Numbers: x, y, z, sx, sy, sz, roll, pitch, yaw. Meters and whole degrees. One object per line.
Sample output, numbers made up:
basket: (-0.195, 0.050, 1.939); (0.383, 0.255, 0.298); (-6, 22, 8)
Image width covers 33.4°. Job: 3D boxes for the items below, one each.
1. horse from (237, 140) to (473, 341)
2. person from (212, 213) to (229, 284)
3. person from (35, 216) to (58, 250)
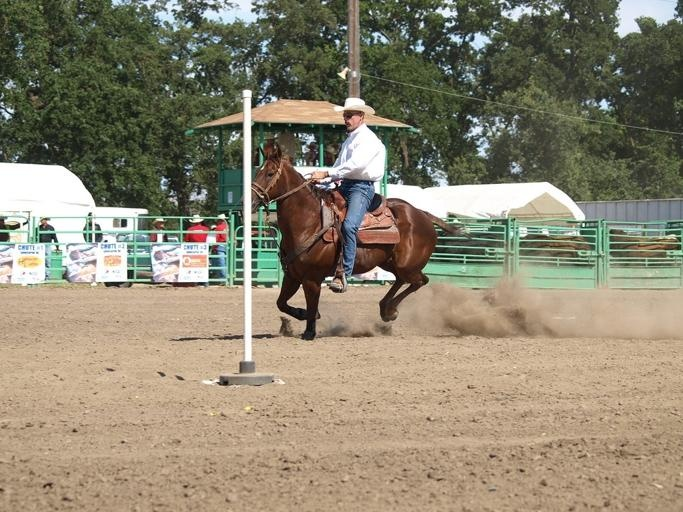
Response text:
horse: (0.119, -0.259, 21.678); (5.325, 3.453, 1.620); (-2, 5, -43)
person: (-3.323, -0.247, 31.790); (0.382, 1.551, 1.023); (-1, 0, -6)
person: (-8.170, -0.629, 31.744); (0.573, 0.714, 1.507); (-1, 0, -14)
